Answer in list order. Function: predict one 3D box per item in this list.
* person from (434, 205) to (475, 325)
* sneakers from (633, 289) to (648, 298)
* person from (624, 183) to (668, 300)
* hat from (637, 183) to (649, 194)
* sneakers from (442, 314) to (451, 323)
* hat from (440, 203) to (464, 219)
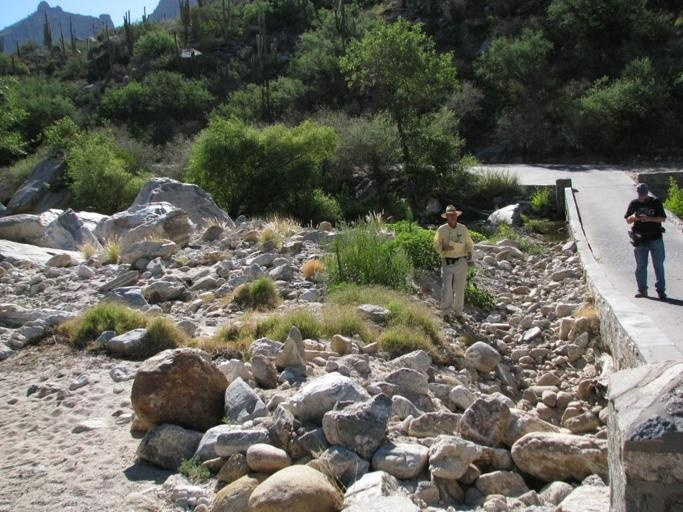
[{"bbox_3d":[2.409,0.140,13.748,0.777,2.556,1.059,0,8,13],"label":"person"},{"bbox_3d":[5.474,0.653,11.622,0.199,0.126,0.256,2,10,29],"label":"sneakers"},{"bbox_3d":[5.554,-0.304,11.611,0.690,2.006,0.580,3,9,31],"label":"person"},{"bbox_3d":[5.519,-1.243,11.696,0.177,0.180,0.398,2,10,29],"label":"hat"},{"bbox_3d":[2.288,1.337,13.908,0.142,0.307,0.145,2,19,28],"label":"sneakers"},{"bbox_3d":[2.287,-0.956,13.405,0.260,0.270,0.585,1,10,21],"label":"hat"}]
